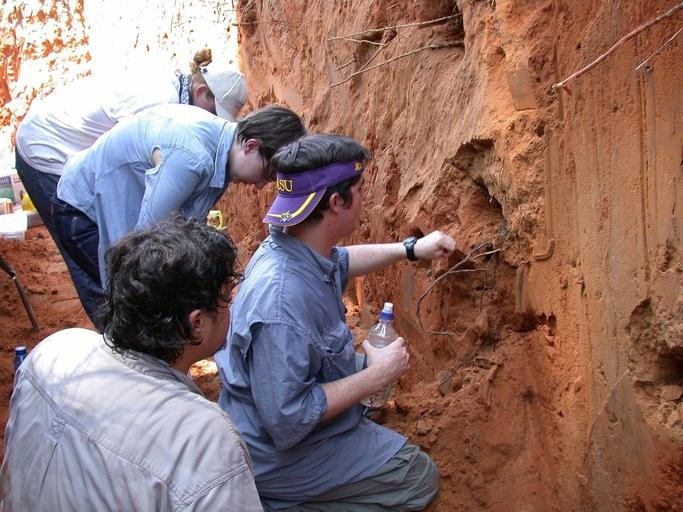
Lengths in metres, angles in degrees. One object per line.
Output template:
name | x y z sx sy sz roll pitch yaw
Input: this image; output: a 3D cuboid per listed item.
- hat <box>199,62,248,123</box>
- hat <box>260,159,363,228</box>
hat | -0.643 -0.907 4.157 0.185 0.347 0.228 -27 21 20
hat | -0.130 -0.257 3.129 0.395 0.131 0.234 -41 24 -20
